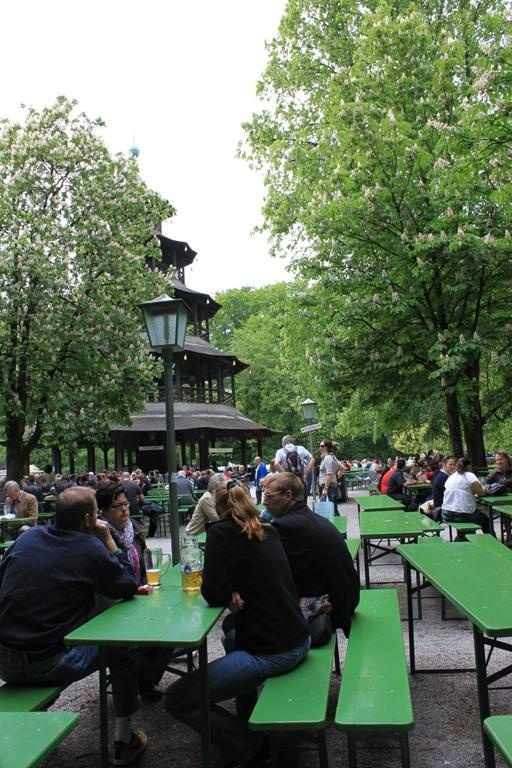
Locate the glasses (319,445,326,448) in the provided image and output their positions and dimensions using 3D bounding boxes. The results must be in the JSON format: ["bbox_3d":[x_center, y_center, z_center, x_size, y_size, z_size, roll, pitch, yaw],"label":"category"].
[{"bbox_3d":[1.327,1.256,12.929,0.115,0.045,0.086,22,-6,-13],"label":"glasses"}]

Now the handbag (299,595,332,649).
[{"bbox_3d":[0.337,1.425,3.856,0.155,0.268,0.283,10,-20,-31],"label":"handbag"}]

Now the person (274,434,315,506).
[{"bbox_3d":[0.695,1.868,12.572,0.737,1.570,0.576,-12,7,-27],"label":"person"}]
